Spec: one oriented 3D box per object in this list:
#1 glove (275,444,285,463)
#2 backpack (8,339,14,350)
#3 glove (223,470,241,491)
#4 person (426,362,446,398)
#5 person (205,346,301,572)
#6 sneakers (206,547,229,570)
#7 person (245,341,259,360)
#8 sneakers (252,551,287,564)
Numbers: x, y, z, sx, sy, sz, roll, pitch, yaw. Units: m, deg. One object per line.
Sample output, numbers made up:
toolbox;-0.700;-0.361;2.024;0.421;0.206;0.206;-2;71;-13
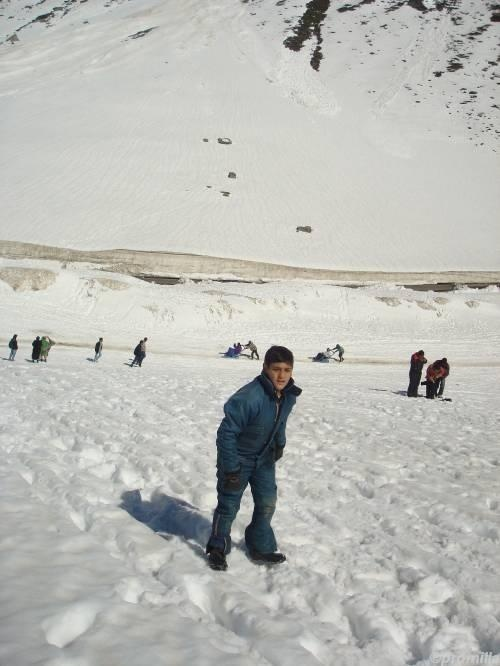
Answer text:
glove;0.220;0.919;5.368;0.091;0.129;0.147;6;-1;1
backpack;-5.806;0.290;16.884;0.081;0.239;0.167;4;13;-15
glove;-0.126;1.057;4.958;0.135;0.127;0.127;2;-7;6
person;3.657;0.923;13.674;0.383;0.759;0.543;11;14;14
person;0.039;0.924;5.100;0.642;1.693;0.468;5;14;-13
sneakers;-0.241;1.649;5.060;0.111;0.159;0.170;5;-8;-30
person;0.072;0.653;24.863;0.542;0.688;0.342;19;34;38
sneakers;0.147;1.681;5.240;0.253;0.096;0.087;-4;3;0
